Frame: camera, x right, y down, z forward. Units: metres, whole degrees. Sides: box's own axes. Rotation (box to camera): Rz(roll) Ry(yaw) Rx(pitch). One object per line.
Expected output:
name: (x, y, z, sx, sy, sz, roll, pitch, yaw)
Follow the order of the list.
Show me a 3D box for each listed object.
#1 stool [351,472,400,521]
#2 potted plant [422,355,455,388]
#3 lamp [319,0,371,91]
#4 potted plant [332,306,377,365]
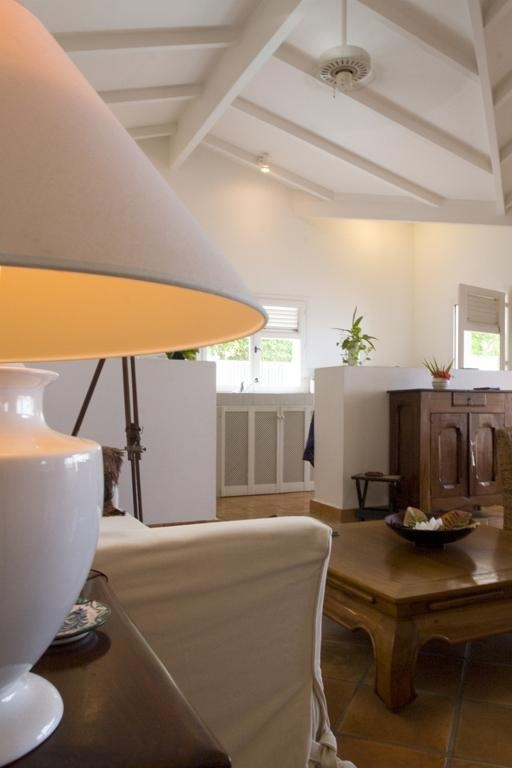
stool: (0.915, 0.864, 4.343, 0.443, 0.448, 0.329, 1, 1, 3)
potted plant: (1.869, -0.131, 5.641, 0.359, 0.403, 0.384, -3, -4, 29)
lamp: (0.612, -2.341, 4.037, 0.383, 0.698, 0.397, -1, 0, -8)
potted plant: (0.878, -0.401, 5.002, 0.396, 0.428, 0.375, 13, 14, 20)
